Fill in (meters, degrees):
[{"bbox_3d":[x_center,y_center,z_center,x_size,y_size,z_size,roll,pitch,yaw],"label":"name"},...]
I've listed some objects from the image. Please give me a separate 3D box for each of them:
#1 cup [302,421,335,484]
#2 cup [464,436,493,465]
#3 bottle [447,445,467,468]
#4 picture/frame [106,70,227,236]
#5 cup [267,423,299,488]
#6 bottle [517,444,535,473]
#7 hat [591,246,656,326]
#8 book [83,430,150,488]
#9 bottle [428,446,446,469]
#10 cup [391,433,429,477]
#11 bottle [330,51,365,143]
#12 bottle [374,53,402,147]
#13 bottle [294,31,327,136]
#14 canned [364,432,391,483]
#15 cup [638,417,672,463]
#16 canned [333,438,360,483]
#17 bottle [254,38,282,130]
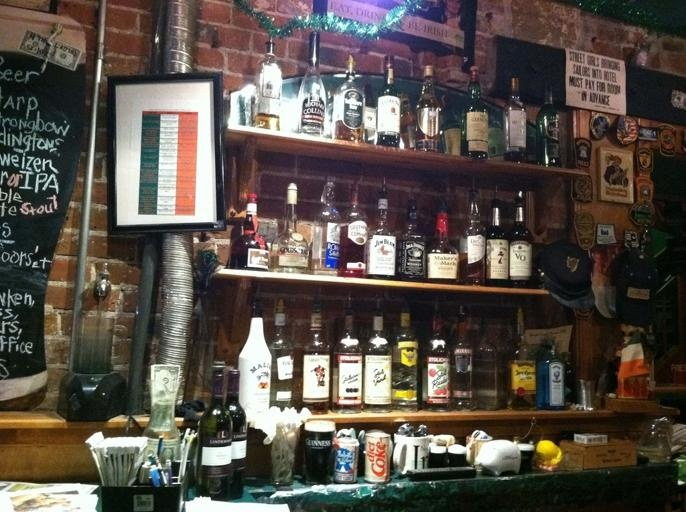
[{"bbox_3d":[-0.094,0.775,2.782,0.125,0.240,0.092,0,-8,6],"label":"cup"},{"bbox_3d":[0.560,0.821,2.943,0.090,0.106,0.064,-2,-8,22],"label":"cup"},{"bbox_3d":[0.468,0.825,2.886,0.072,0.082,0.076,2,-13,0],"label":"bottle"},{"bbox_3d":[-0.731,-0.421,2.904,0.683,0.904,0.060,-1,-4,-3],"label":"picture/frame"},{"bbox_3d":[-0.224,0.772,2.740,0.099,0.242,0.075,3,-8,-14],"label":"cup"},{"bbox_3d":[0.784,0.856,2.986,0.044,0.114,0.138,-4,-8,31],"label":"bottle"},{"bbox_3d":[1.417,0.157,3.568,0.290,0.384,0.115,8,-6,-11],"label":"hat"},{"bbox_3d":[-0.764,0.696,2.409,0.204,0.200,0.160,2,-10,-18],"label":"book"},{"bbox_3d":[0.385,0.823,2.869,0.079,0.115,0.077,1,-9,0],"label":"bottle"},{"bbox_3d":[0.277,0.797,2.835,0.108,0.144,0.172,0,-2,33],"label":"cup"},{"bbox_3d":[0.035,-0.682,3.108,0.141,0.399,0.105,6,-9,-34],"label":"bottle"},{"bbox_3d":[0.203,-0.681,3.113,0.103,0.425,0.078,1,-8,-1],"label":"bottle"},{"bbox_3d":[-0.130,-0.732,3.109,0.131,0.480,0.236,1,-8,-3],"label":"bottle"},{"bbox_3d":[0.139,0.800,2.805,0.103,0.192,0.088,1,-8,0],"label":"canned"},{"bbox_3d":[1.417,0.840,3.215,0.134,0.179,0.087,-1,-8,16],"label":"cup"},{"bbox_3d":[0.014,0.803,2.759,0.092,0.173,0.047,2,-8,-8],"label":"canned"},{"bbox_3d":[-0.316,-0.719,3.036,0.110,0.396,0.137,2,-8,-6],"label":"bottle"}]
